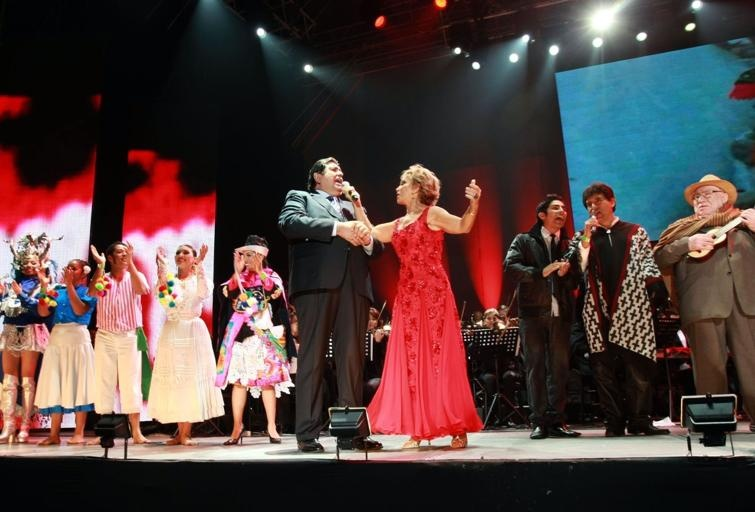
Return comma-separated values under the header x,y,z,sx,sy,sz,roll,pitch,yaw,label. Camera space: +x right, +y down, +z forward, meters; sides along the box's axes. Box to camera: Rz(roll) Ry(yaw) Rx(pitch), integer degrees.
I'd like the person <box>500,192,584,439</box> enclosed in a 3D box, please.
x,y,z,sx,sy,sz,roll,pitch,yaw,label
1.961,0.645,7.265,0.821,2.820,0.681,-6,-18,16,person

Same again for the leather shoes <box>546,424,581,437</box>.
x,y,z,sx,sy,sz,roll,pitch,yaw,label
2.060,1.970,7.029,0.408,0.178,0.153,-2,-5,9,leather shoes

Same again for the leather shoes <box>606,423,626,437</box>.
x,y,z,sx,sy,sz,roll,pitch,yaw,label
2.571,1.895,6.831,0.215,0.128,0.148,-5,-18,10,leather shoes

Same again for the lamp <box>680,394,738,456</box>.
x,y,z,sx,sy,sz,roll,pitch,yaw,label
2.780,1.390,5.238,0.414,0.509,0.287,-1,-3,22,lamp

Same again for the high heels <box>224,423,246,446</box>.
x,y,z,sx,sy,sz,roll,pitch,yaw,label
-1.700,2.136,7.456,0.219,0.220,0.553,3,-18,-12,high heels

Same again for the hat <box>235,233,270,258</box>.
x,y,z,sx,sy,sz,roll,pitch,yaw,label
-1.504,-0.125,7.891,0.463,0.236,0.356,6,-7,-29,hat

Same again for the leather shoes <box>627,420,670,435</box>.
x,y,z,sx,sy,sz,roll,pitch,yaw,label
2.898,1.878,6.842,0.466,0.203,0.168,-2,-6,9,leather shoes

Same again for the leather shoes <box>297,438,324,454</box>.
x,y,z,sx,sy,sz,roll,pitch,yaw,label
-0.630,1.803,5.954,0.250,0.111,0.110,-10,-14,33,leather shoes

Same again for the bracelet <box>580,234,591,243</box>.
x,y,z,sx,sy,sz,roll,pitch,yaw,label
2.310,-0.185,6.969,0.079,0.061,0.102,2,-15,8,bracelet

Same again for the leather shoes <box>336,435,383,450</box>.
x,y,z,sx,sy,sz,roll,pitch,yaw,label
-0.149,1.722,5.752,0.340,0.123,0.246,5,-11,-36,leather shoes

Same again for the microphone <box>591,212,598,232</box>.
x,y,z,sx,sy,sz,roll,pitch,yaw,label
2.413,-0.359,6.946,0.057,0.166,0.121,-3,3,-3,microphone

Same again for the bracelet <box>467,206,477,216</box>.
x,y,z,sx,sy,sz,roll,pitch,yaw,label
0.911,-0.424,6.093,0.086,0.140,0.083,7,-10,-20,bracelet

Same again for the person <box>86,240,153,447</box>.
x,y,z,sx,sy,sz,roll,pitch,yaw,label
-3.106,0.990,7.595,0.798,2.461,0.668,6,-18,-22,person

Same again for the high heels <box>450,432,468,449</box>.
x,y,z,sx,sy,sz,roll,pitch,yaw,label
0.808,1.815,6.138,0.173,0.177,0.106,8,-21,-12,high heels

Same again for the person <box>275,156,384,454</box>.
x,y,z,sx,sy,sz,roll,pitch,yaw,label
-0.475,0.383,6.133,0.951,2.930,0.768,-1,-17,0,person

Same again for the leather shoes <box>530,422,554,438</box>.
x,y,z,sx,sy,sz,roll,pitch,yaw,label
1.809,1.951,6.968,0.119,0.157,0.375,-17,-28,33,leather shoes

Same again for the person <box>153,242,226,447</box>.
x,y,z,sx,sy,sz,roll,pitch,yaw,label
-2.274,1.022,7.398,0.784,2.311,0.783,1,-17,-7,person

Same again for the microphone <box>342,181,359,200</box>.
x,y,z,sx,sy,sz,roll,pitch,yaw,label
-0.295,-0.682,6.578,0.104,0.103,0.334,3,21,-18,microphone

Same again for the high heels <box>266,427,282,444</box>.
x,y,z,sx,sy,sz,roll,pitch,yaw,label
-1.227,2.174,7.620,0.135,0.148,0.357,5,-11,-26,high heels

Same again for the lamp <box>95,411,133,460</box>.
x,y,z,sx,sy,sz,roll,pitch,yaw,label
-2.408,1.675,5.771,0.261,0.441,0.333,1,-17,2,lamp

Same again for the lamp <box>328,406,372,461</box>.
x,y,z,sx,sy,sz,roll,pitch,yaw,label
-0.237,1.557,5.479,0.337,0.457,0.295,-5,-16,17,lamp

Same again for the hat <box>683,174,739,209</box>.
x,y,z,sx,sy,sz,roll,pitch,yaw,label
3.991,-0.761,7.470,0.563,0.233,0.630,-2,-32,34,hat
